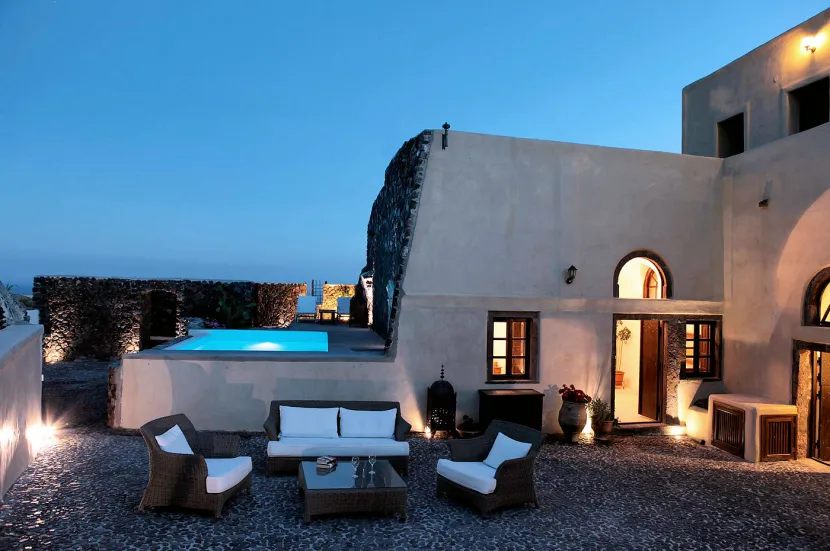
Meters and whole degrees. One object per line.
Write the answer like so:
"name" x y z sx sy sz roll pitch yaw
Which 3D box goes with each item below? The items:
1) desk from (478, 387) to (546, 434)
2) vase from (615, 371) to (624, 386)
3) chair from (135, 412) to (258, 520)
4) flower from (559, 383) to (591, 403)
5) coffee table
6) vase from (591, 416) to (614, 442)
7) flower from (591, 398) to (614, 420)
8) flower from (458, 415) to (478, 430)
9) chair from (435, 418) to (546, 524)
"desk" 2.405 3.480 16.684 1.220 1.146 1.101 4 4 0
"vase" 6.615 3.352 20.724 0.332 0.436 0.134 -3 0 -13
"chair" -4.580 3.955 13.363 1.995 2.163 0.940 -3 0 3
"flower" 4.131 3.015 16.602 0.492 0.233 0.540 3 -4 29
"coffee table" -1.342 4.481 13.052 2.760 1.090 2.256 1 -3 -10
"vase" 4.894 3.995 16.741 0.582 0.485 0.565 -2 0 -39
"flower" 4.864 3.499 16.767 0.521 0.607 0.495 0 -8 -9
"flower" 1.323 3.734 16.142 0.335 0.230 0.339 0 2 -2
"chair" 1.696 4.231 13.766 2.723 1.891 1.880 8 9 -33
